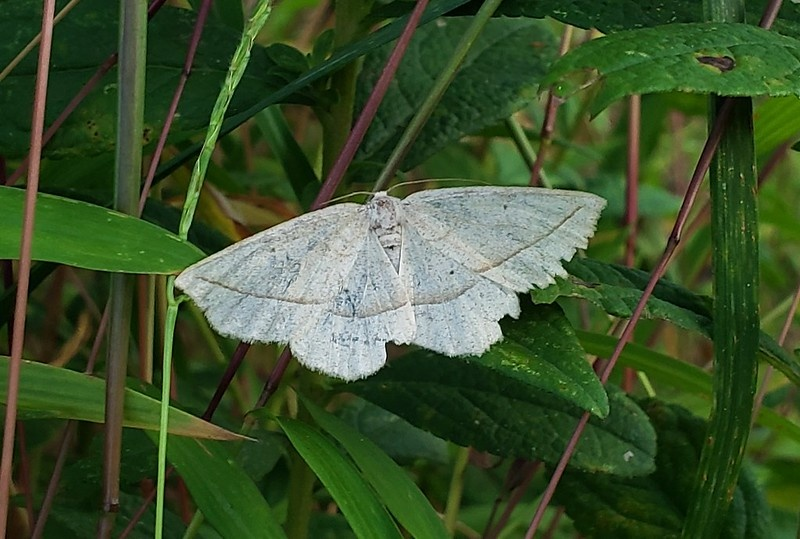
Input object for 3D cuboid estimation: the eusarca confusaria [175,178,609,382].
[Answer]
[{"bbox_3d":[-0.007,0.005,1.215,0.583,0.232,0.047,-15,-1,-24],"label":"eusarca confusaria"}]
